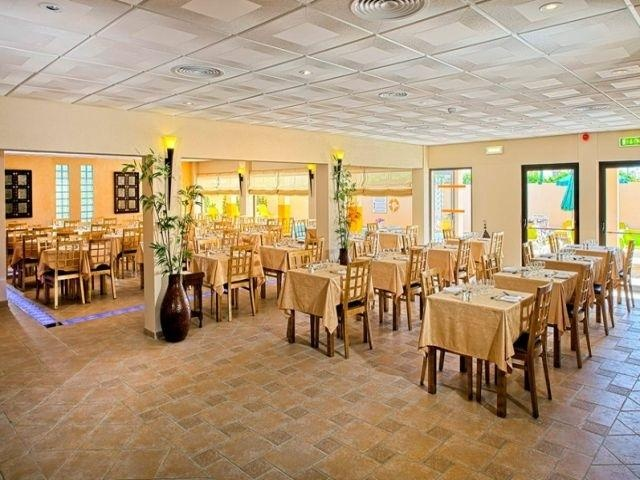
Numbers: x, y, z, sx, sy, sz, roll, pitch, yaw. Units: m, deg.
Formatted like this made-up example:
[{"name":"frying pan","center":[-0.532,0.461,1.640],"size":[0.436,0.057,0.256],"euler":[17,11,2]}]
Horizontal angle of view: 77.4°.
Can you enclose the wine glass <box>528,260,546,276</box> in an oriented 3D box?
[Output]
[{"name":"wine glass","center":[3.403,0.444,6.261],"size":[0.187,0.200,0.196],"euler":[0,-2,0]}]

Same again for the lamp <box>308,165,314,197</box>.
[{"name":"lamp","center":[-0.313,-2.103,14.350],"size":[0.180,1.045,0.413],"euler":[-1,10,0]}]

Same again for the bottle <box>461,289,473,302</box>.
[{"name":"bottle","center":[1.681,0.636,4.584],"size":[0.127,0.134,0.125],"euler":[-4,3,-42]}]

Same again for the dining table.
[{"name":"dining table","center":[0.069,0.933,6.253],"size":[1.170,0.986,1.397],"euler":[7,9,40]}]

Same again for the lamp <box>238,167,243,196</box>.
[{"name":"lamp","center":[-3.225,-2.403,16.442],"size":[0.174,1.057,0.576],"euler":[-3,10,-13]}]

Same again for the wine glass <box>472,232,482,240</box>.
[{"name":"wine glass","center":[4.241,-0.112,10.839],"size":[0.277,0.147,0.270],"euler":[-1,0,7]}]

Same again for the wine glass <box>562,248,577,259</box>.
[{"name":"wine glass","center":[4.599,0.247,7.398],"size":[0.316,0.210,0.320],"euler":[2,8,26]}]
